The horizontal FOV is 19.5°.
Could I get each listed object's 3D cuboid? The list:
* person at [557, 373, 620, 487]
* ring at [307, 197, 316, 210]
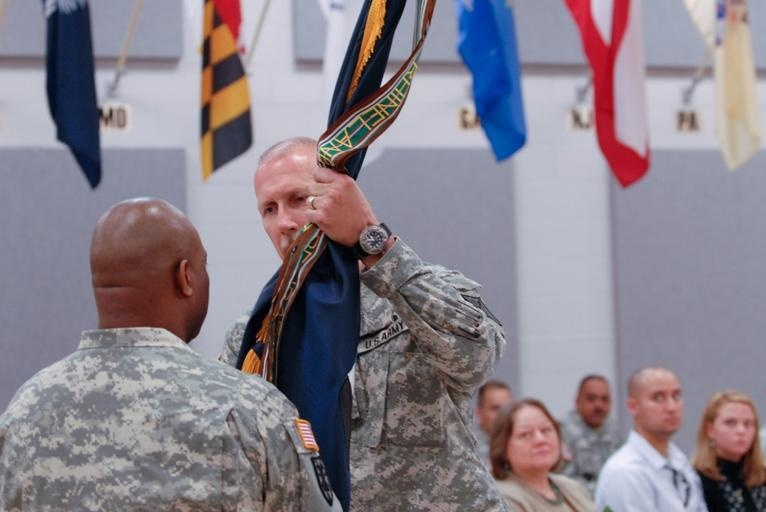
[{"bbox_3d":[1.894,1.642,20.490,0.661,0.701,1.821,-1,22,10],"label":"person"},{"bbox_3d":[-0.540,-0.410,16.993,0.029,0.088,0.072,4,10,4],"label":"ring"}]
